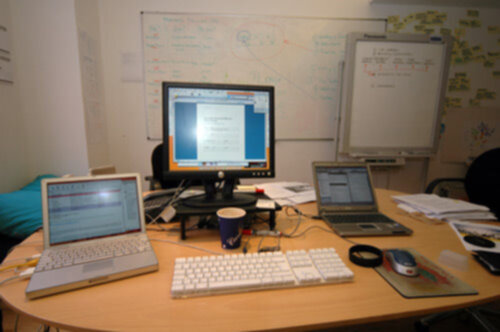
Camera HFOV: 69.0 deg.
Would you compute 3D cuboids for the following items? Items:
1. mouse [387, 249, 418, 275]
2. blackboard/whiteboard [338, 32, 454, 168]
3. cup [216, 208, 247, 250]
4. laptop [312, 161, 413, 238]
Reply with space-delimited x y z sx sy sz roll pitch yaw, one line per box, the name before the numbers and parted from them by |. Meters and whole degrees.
mouse | 1.033 0.640 2.506 0.183 0.096 0.309 5 11 0
blackboard/whiteboard | 1.653 -0.811 4.273 1.814 1.917 0.327 1 5 -6
cup | -0.139 0.452 2.585 0.246 0.234 0.241 1 10 0
laptop | 0.802 0.222 2.713 0.550 0.393 0.586 0 14 -15
